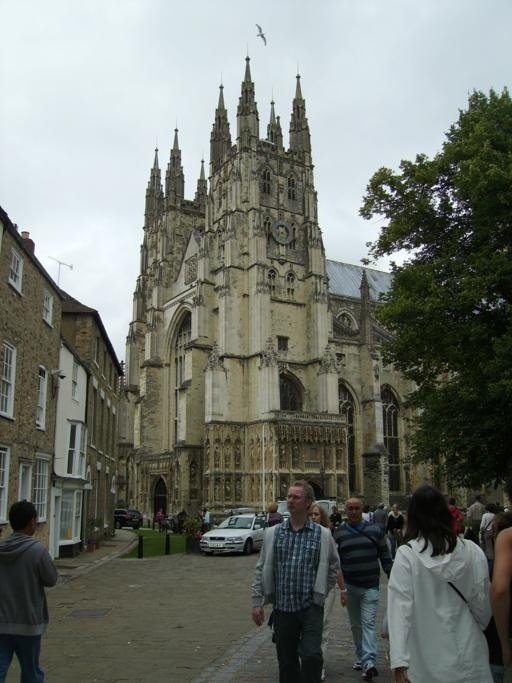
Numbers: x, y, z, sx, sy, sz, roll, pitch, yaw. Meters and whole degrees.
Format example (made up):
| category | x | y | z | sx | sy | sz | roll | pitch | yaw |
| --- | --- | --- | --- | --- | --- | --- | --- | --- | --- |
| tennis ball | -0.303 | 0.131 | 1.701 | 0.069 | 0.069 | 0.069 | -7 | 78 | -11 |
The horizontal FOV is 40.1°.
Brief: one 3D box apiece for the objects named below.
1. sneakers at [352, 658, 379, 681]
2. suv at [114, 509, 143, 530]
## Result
| category | x | y | z | sx | sy | sz | roll | pitch | yaw |
| --- | --- | --- | --- | --- | --- | --- | --- | --- | --- |
| sneakers | 1.029 | 3.059 | 6.520 | 0.116 | 0.154 | 0.345 | -6 | -28 | 5 |
| suv | -7.584 | 10.634 | 42.013 | 2.749 | 0.950 | 1.279 | -5 | -13 | 41 |
